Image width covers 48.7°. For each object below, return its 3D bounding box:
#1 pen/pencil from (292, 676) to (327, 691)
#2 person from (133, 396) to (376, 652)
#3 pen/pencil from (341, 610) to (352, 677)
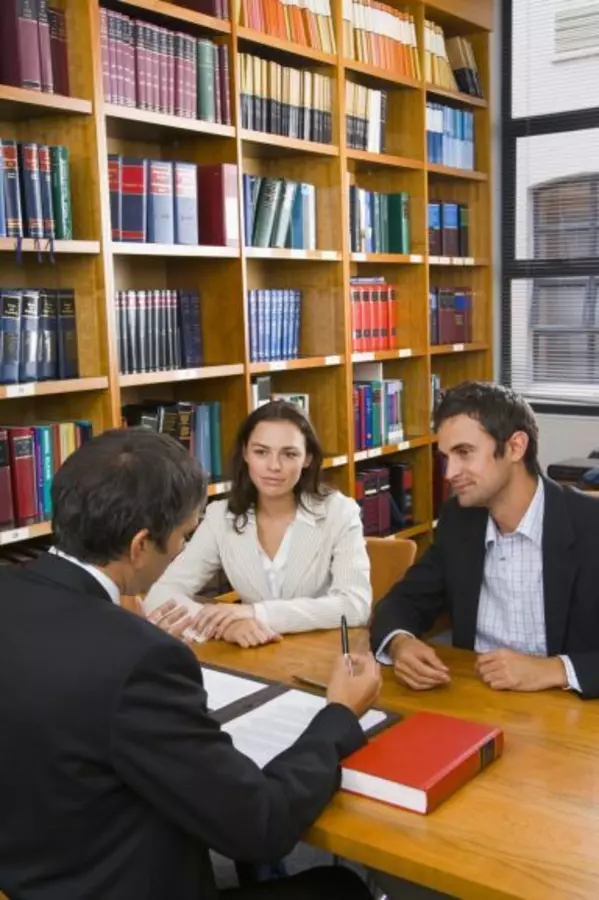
[{"bbox_3d":[0.019,0.438,1.239,0.022,0.022,0.090,-3,1,-42],"label":"pen/pencil"},{"bbox_3d":[-0.062,0.233,1.959,0.665,0.940,0.612,0,-3,5],"label":"person"},{"bbox_3d":[0.092,0.387,1.324,0.015,0.145,0.015,-3,-11,-19],"label":"pen/pencil"}]
